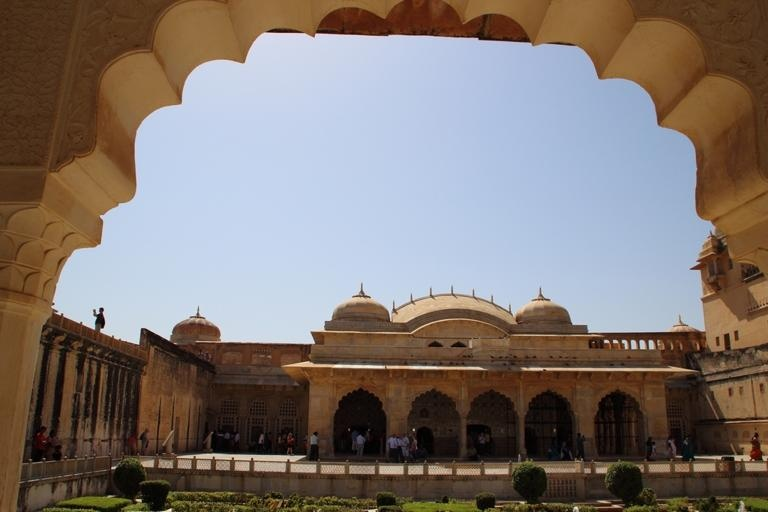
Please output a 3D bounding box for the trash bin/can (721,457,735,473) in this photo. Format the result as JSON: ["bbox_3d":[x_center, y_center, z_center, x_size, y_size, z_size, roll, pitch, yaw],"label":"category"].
[{"bbox_3d":[10.006,6.113,19.652,0.409,0.406,0.421,-5,-16,21],"label":"trash bin/can"}]

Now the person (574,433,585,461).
[{"bbox_3d":[7.086,6.855,24.484,0.349,0.892,0.624,-7,-23,14],"label":"person"}]

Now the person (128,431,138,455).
[{"bbox_3d":[-8.202,6.124,21.982,0.309,0.770,0.855,6,-23,-18],"label":"person"}]

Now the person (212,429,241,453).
[{"bbox_3d":[-7.275,8.562,30.936,1.081,1.089,0.604,1,-3,0],"label":"person"}]

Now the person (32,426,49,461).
[{"bbox_3d":[-8.087,4.416,15.834,0.311,0.823,0.465,9,-24,-24],"label":"person"}]
